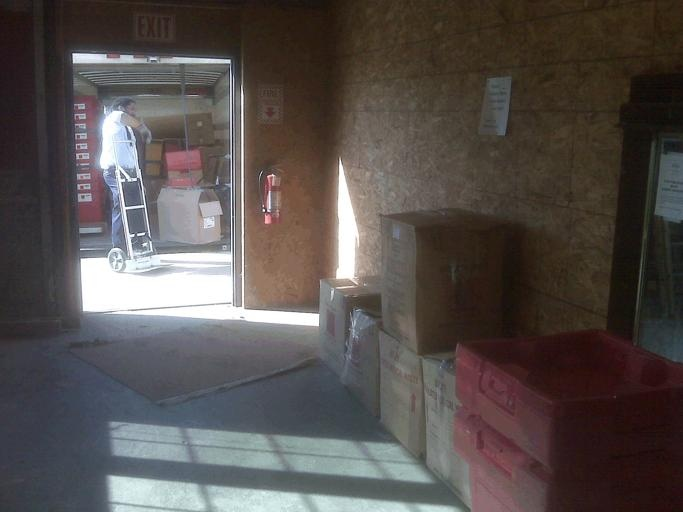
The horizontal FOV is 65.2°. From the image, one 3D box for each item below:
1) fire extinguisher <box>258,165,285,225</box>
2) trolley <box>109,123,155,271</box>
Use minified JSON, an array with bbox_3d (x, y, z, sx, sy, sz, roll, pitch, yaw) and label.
[{"bbox_3d":[-0.731,-0.601,5.468,0.237,0.592,0.180,-1,14,-8],"label":"fire extinguisher"},{"bbox_3d":[-2.763,-0.678,6.954,0.609,1.611,0.960,-5,15,-25],"label":"trolley"}]
